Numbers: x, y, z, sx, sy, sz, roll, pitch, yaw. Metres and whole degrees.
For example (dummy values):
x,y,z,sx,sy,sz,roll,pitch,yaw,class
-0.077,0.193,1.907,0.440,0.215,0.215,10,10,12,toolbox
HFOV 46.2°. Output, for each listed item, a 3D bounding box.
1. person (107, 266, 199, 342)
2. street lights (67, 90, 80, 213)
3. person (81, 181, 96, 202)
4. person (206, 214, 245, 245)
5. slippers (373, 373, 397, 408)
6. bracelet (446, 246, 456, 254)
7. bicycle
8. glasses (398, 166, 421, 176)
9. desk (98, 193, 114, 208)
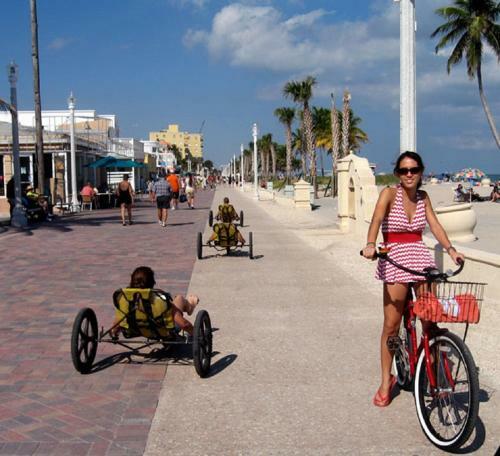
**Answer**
x,y,z,sx,sy,sz,roll,pitch,yaw,class
-0.858,0.632,5.308,0.460,0.511,0.852,-1,19,8,person
-8.508,-3.961,27.699,0.676,6.004,0.695,3,-21,-27,street lights
-8.128,-1.799,29.313,0.716,0.881,1.998,-2,6,-15,person
-0.582,0.083,12.142,0.653,0.599,1.363,-3,6,-11,person
0.984,1.203,4.350,0.075,0.288,0.042,8,32,2,slippers
1.436,0.153,4.178,0.049,0.025,0.054,-2,1,-6,bracelet
1.215,0.835,4.109,0.641,1.011,1.459,1,2,-5,bicycle
1.134,-0.410,4.158,0.174,0.059,0.073,1,6,15,glasses
-7.738,-1.511,31.312,0.639,0.779,0.711,2,15,-4,desk
